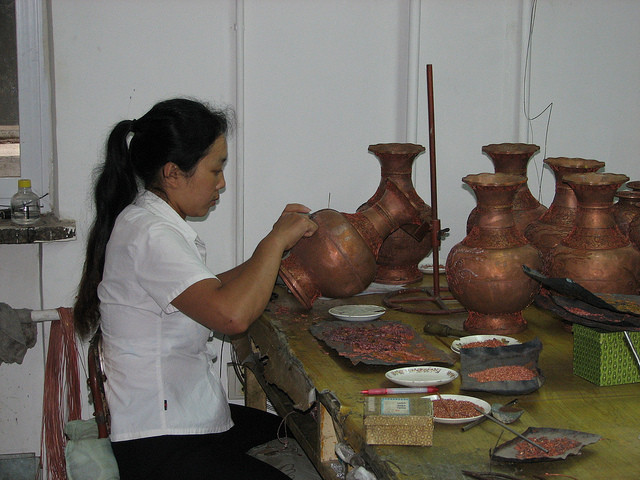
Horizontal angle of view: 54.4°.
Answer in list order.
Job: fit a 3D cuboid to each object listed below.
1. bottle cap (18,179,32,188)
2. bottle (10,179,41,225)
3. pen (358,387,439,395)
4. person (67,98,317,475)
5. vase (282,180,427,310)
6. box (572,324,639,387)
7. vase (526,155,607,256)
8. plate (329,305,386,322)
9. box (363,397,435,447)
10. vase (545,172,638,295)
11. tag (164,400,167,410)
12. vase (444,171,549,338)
[{"bbox_3d":[-1.346,-0.258,2.832,0.047,0.025,0.046,1,5,-3],"label":"bottle cap"},{"bbox_3d":[-1.378,-0.180,2.909,0.142,0.215,0.246,-7,6,-24],"label":"bottle"},{"bbox_3d":[0.226,0.426,1.752,0.202,0.016,0.016,0,37,-3],"label":"pen"},{"bbox_3d":[-0.458,0.163,2.060,0.816,1.219,0.456,-5,5,-2],"label":"person"},{"bbox_3d":[0.065,0.043,2.447,0.326,0.493,0.313,5,10,-24],"label":"vase"},{"bbox_3d":[0.845,0.339,1.894,0.178,0.159,0.168,0,8,-14],"label":"box"},{"bbox_3d":[0.934,-0.104,2.406,0.259,0.406,0.275,13,15,26],"label":"vase"},{"bbox_3d":[0.139,0.272,2.331,0.205,0.042,0.210,-5,5,-2],"label":"plate"},{"bbox_3d":[0.194,0.468,1.581,0.148,0.070,0.103,0,2,1],"label":"box"},{"bbox_3d":[0.922,-0.017,2.101,0.296,0.422,0.152,-5,5,1],"label":"vase"},{"bbox_3d":[-0.490,0.526,1.986,0.009,0.030,0.003,-7,6,-20],"label":"tag"},{"bbox_3d":[0.675,0.038,2.174,0.493,0.559,0.339,-9,7,-38],"label":"vase"}]
